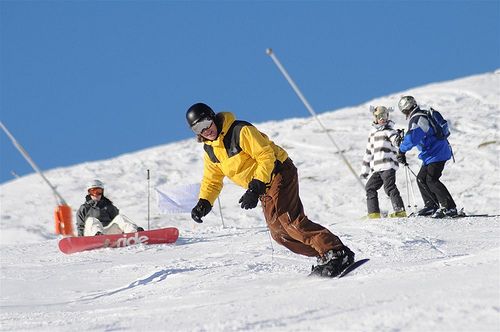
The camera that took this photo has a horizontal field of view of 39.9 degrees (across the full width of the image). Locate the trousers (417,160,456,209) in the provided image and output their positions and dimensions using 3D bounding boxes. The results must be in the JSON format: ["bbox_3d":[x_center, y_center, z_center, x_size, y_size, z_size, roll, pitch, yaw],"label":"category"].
[{"bbox_3d":[3.661,0.404,13.791,0.675,0.941,0.261,-21,4,16],"label":"trousers"}]
